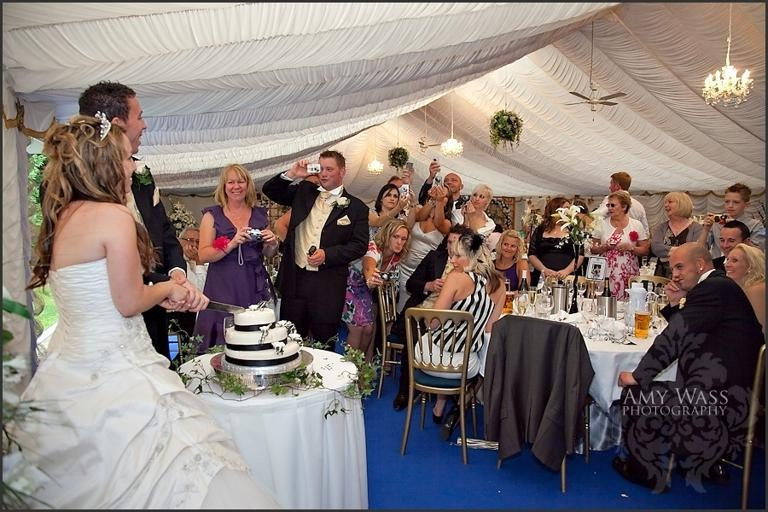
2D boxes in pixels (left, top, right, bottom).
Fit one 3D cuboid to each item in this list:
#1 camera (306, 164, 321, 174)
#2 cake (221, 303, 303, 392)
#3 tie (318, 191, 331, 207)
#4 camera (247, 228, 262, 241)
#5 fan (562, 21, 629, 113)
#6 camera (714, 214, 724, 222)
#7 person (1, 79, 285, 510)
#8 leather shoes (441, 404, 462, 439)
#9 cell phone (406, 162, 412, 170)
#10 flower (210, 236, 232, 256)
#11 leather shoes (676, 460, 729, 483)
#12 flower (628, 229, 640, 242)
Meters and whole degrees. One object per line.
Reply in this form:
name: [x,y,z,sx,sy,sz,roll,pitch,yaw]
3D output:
camera: [-0.689,-0.874,5.698,0.127,0.104,0.133,1,5,-17]
cake: [-0.873,0.625,4.080,0.577,0.361,0.567,-1,2,-40]
tie: [-0.587,-0.582,5.842,0.098,0.137,0.041,-5,-4,15]
camera: [-1.171,-0.199,5.225,0.122,0.053,0.089,-4,22,-23]
fan: [3.638,-3.312,9.832,1.110,1.483,1.068,-8,12,-40]
camera: [4.125,-0.465,7.069,0.083,0.042,0.106,-3,7,40]
person: [-1.564,0.306,3.553,1.383,2.392,0.619,2,6,-4]
leather shoes: [0.674,1.628,5.695,0.136,0.372,0.145,43,-43,-22]
cell phone: [0.307,-1.071,6.789,0.078,0.079,0.018,-7,10,-36]
flower: [-1.453,-0.107,5.208,0.151,0.153,0.063,23,-8,13]
leather shoes: [2.745,1.881,4.903,0.361,0.145,0.259,-4,3,12]
flower: [3.081,-0.243,7.076,0.120,0.129,0.047,-1,7,9]
